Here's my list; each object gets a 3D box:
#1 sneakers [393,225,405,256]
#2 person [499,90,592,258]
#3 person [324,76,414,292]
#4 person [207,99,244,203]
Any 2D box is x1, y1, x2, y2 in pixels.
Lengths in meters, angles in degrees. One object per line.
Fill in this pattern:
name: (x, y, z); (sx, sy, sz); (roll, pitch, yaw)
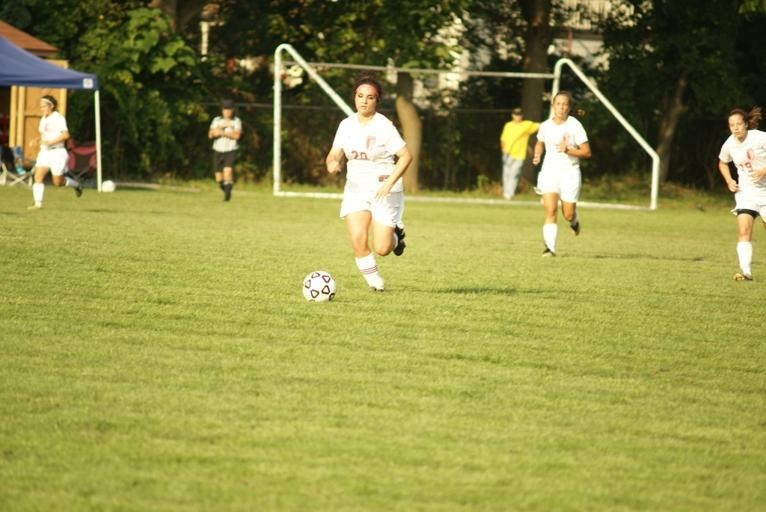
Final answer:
sneakers: (0.159, -0.179, 12.285); (0.122, 0.365, 0.167); (-2, -10, 12)
person: (2.538, -1.174, 15.205); (0.749, 2.296, 1.248); (3, 5, 8)
person: (-0.167, -0.758, 11.666); (0.869, 2.307, 0.581); (2, 5, -3)
person: (-3.245, -2.159, 21.777); (0.580, 2.017, 1.182); (1, 5, -10)
